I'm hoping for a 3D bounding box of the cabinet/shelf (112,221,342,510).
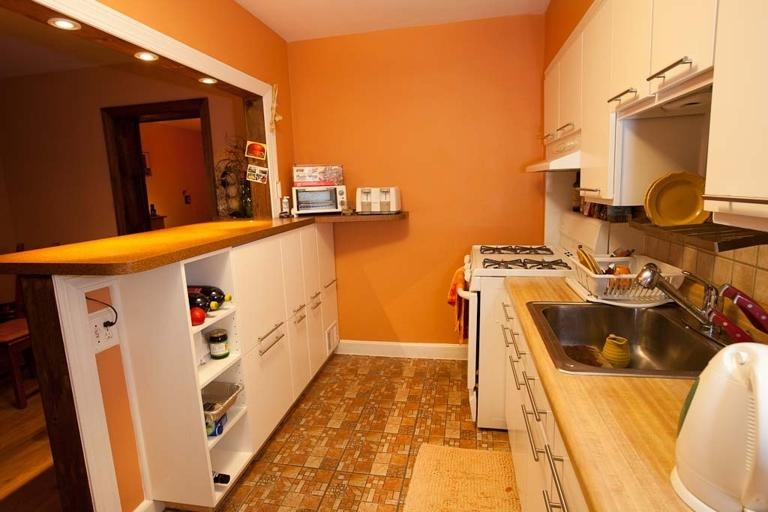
[{"bbox_3d":[-0.972,0.702,3.096,0.395,1.005,1.530,0,14,8],"label":"cabinet/shelf"}]

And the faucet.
[{"bbox_3d":[1.389,0.185,2.422,0.097,0.217,0.437,28,2,-29],"label":"faucet"}]

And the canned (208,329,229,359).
[{"bbox_3d":[-0.979,0.528,3.124,0.148,0.169,0.150,-1,6,3],"label":"canned"}]

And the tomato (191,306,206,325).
[{"bbox_3d":[-1.056,0.330,2.904,0.068,0.087,0.151,-6,12,-14],"label":"tomato"}]

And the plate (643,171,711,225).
[{"bbox_3d":[1.412,-0.270,2.431,0.295,0.249,0.116,-4,12,-4],"label":"plate"}]

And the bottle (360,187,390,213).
[{"bbox_3d":[-0.062,-0.458,4.222,0.333,0.241,0.180,1,7,7],"label":"bottle"}]

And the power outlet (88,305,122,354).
[{"bbox_3d":[-1.491,0.405,2.731,0.256,0.258,0.021,-9,-1,24],"label":"power outlet"}]

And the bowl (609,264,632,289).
[{"bbox_3d":[1.273,0.116,2.761,0.103,0.153,0.084,0,-12,11],"label":"bowl"}]

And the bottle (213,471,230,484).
[{"bbox_3d":[-0.958,1.303,3.007,0.082,0.036,0.048,2,8,1],"label":"bottle"}]

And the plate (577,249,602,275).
[{"bbox_3d":[1.155,0.041,2.880,0.089,0.175,0.047,12,-40,-32],"label":"plate"}]

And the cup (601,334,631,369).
[{"bbox_3d":[1.142,0.475,2.524,0.115,0.152,0.158,-2,8,6],"label":"cup"}]

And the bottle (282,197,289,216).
[{"bbox_3d":[-0.838,-0.424,4.312,0.069,0.146,0.145,-5,12,-10],"label":"bottle"}]
